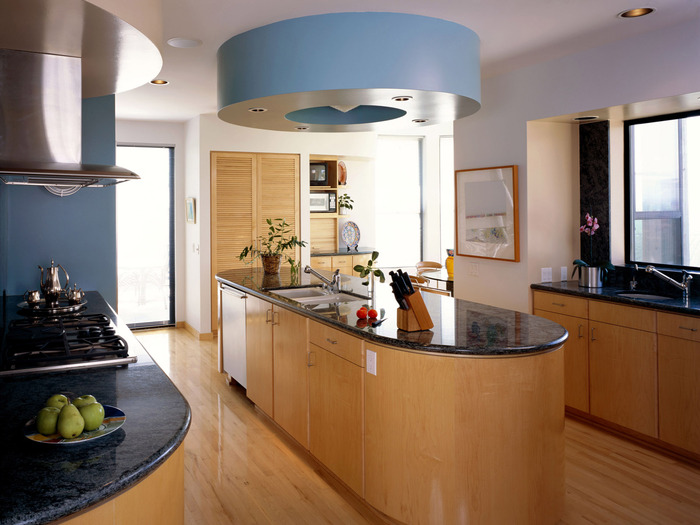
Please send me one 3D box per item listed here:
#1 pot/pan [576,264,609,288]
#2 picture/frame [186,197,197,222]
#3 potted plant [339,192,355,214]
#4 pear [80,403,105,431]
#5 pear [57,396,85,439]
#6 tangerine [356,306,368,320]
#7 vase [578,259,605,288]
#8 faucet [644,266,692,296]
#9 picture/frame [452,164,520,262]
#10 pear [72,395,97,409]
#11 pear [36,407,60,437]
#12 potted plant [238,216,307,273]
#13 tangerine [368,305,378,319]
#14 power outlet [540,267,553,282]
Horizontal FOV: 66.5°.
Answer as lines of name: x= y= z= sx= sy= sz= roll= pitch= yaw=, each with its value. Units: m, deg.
pot/pan: x=2.078 y=0.113 z=4.613 sx=0.238 sy=0.176 sz=0.182 roll=1 pitch=-1 yaw=9
picture/frame: x=-2.167 y=-0.740 z=7.277 sx=0.049 sy=0.346 sz=0.366 roll=-2 pitch=4 yaw=-21
potted plant: x=-0.079 y=-0.917 z=8.041 sx=0.239 sy=0.297 sz=0.297 roll=1 pitch=-6 yaw=-4
pear: x=-0.948 y=0.563 z=1.962 sx=0.088 sy=0.090 sz=0.088 roll=-10 pitch=-9 yaw=-23
pear: x=-1.006 y=0.558 z=1.918 sx=0.113 sy=0.161 sz=0.104 roll=4 pitch=-13 yaw=-37
tangerine: x=0.075 y=0.305 z=3.309 sx=0.073 sy=0.072 sz=0.072 roll=3 pitch=7 yaw=5
vase: x=2.054 y=0.099 z=4.575 sx=0.162 sy=0.239 sz=0.272 roll=0 pitch=0 yaw=-32
faucet: x=2.457 y=0.122 z=4.152 sx=0.500 sy=0.250 sz=0.118 roll=11 pitch=-8 yaw=-27
picture/frame: x=1.310 y=-0.487 z=5.057 sx=0.083 sy=1.153 sz=0.983 roll=0 pitch=0 yaw=-30
pear: x=-1.006 y=0.514 z=2.025 sx=0.072 sy=0.068 sz=0.071 roll=1 pitch=-1 yaw=-7
pear: x=-1.089 y=0.567 z=1.942 sx=0.089 sy=0.090 sz=0.089 roll=2 pitch=-1 yaw=-26
potted plant: x=-0.967 y=-0.228 z=6.455 sx=0.796 sy=0.564 sz=0.794 roll=0 pitch=-3 yaw=-6
tangerine: x=0.140 y=0.309 z=3.310 sx=0.052 sy=0.065 sz=0.052 roll=0 pitch=-25 yaw=2
power outlet: x=1.771 y=0.099 z=4.841 sx=0.131 sy=0.124 sz=0.071 roll=0 pitch=-1 yaw=-22
